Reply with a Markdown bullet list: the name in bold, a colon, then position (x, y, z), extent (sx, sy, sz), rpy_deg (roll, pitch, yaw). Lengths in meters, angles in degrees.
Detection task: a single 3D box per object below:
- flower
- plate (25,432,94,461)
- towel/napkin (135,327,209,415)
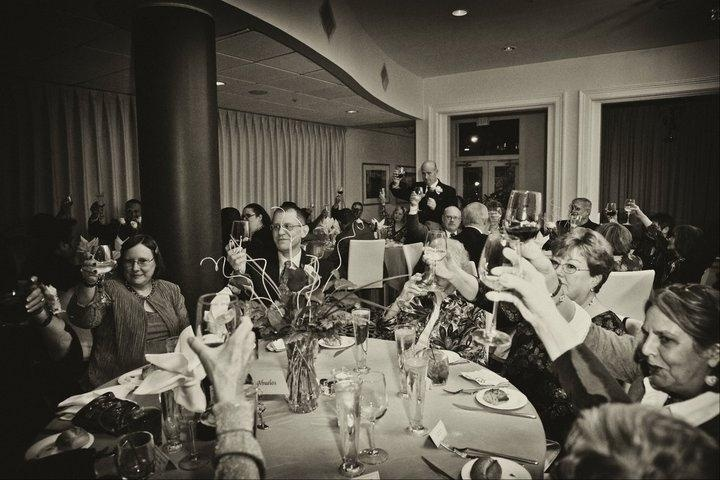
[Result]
- **flower**: position (-0.163, 0.346, 3.242), extent (1.068, 1.260, 1.138), rpy_deg (0, 3, -29)
- **plate**: position (-1.346, 0.926, 2.325), extent (0.163, 0.043, 0.161), rpy_deg (-2, -2, -9)
- **towel/napkin**: position (-0.811, 0.600, 2.301), extent (0.342, 0.165, 0.407), rpy_deg (-9, 33, -28)
